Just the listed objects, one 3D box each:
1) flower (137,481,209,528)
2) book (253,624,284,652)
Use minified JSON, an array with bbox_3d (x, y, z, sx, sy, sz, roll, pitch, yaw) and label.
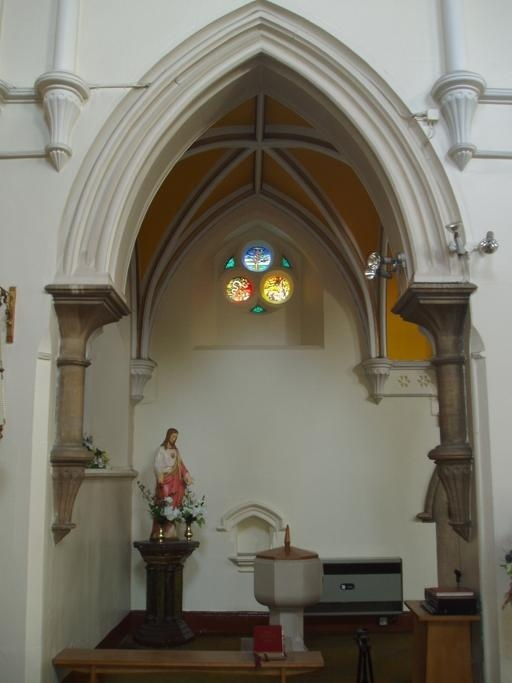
[{"bbox_3d":[-0.775,1.658,7.878,0.610,0.425,0.515,3,-7,-12],"label":"flower"},{"bbox_3d":[0.074,1.858,5.046,0.179,0.162,0.166,-2,-10,-2],"label":"book"}]
